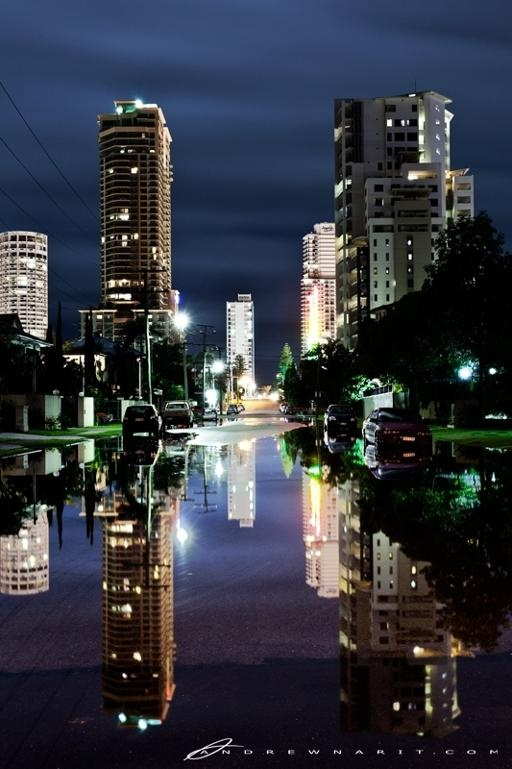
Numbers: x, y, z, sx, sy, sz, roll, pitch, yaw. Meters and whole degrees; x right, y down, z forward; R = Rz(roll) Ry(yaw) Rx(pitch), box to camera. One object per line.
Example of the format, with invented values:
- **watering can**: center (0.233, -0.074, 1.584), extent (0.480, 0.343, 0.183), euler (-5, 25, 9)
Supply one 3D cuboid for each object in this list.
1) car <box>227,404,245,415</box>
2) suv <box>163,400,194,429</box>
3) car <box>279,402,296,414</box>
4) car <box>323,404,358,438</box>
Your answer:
- **car**: center (-2.972, 3.652, 136.675), extent (1.429, 1.422, 5.578), euler (-2, -2, 3)
- **suv**: center (-4.053, 1.586, 48.377), extent (1.491, 1.413, 2.417), euler (0, -1, -7)
- **car**: center (5.052, 3.662, 145.421), extent (1.637, 1.901, 7.410), euler (1, 2, 1)
- **car**: center (4.524, 1.947, 49.972), extent (1.544, 1.660, 4.617), euler (0, -1, 4)
